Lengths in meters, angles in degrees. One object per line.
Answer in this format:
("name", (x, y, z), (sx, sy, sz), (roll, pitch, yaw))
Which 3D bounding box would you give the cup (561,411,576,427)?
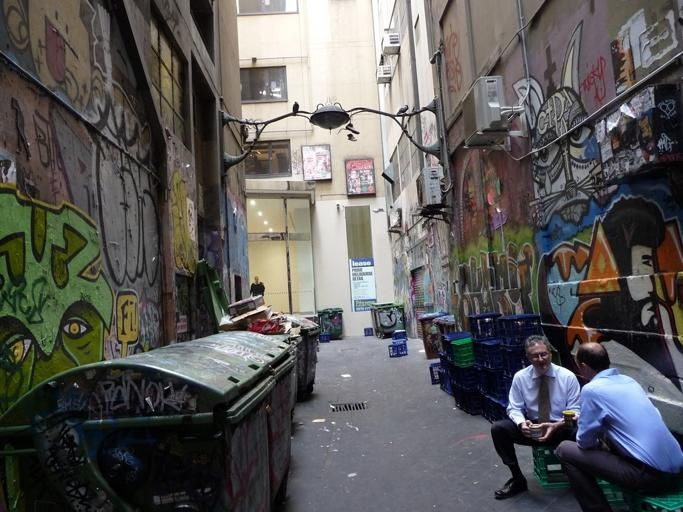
("cup", (2.279, 1.627, 4.920), (0.131, 0.138, 0.112), (-9, 7, -30))

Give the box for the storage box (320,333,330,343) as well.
("storage box", (-0.706, 3.811, 22.808), (0.433, 0.398, 0.485), (-3, -2, -5))

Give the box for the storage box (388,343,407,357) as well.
("storage box", (1.777, 2.913, 15.182), (0.553, 0.397, 0.562), (-4, -3, 6))

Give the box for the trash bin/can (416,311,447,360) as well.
("trash bin/can", (2.590, 2.344, 13.789), (0.711, 1.319, 0.708), (-5, -13, 7))

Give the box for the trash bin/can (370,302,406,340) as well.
("trash bin/can", (2.180, 2.955, 22.469), (1.626, 1.520, 1.163), (-5, -3, 19))

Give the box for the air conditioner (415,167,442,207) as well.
("air conditioner", (2.242, -1.679, 12.545), (0.449, 0.992, 0.931), (-2, -8, -12))

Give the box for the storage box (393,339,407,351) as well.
("storage box", (1.868, 2.795, 15.431), (0.271, 0.500, 0.320), (0, -4, -9))

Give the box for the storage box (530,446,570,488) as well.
("storage box", (2.228, 2.071, 5.237), (0.306, 0.489, 0.624), (-2, -6, 1))

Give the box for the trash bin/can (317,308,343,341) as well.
("trash bin/can", (-0.493, 3.335, 23.866), (1.155, 1.490, 0.512), (-3, -2, -10))

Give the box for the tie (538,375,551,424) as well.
("tie", (2.151, 1.510, 5.178), (0.081, 0.476, 0.027), (-4, -15, 28))

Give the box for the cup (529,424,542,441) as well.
("cup", (1.951, 1.779, 4.898), (0.118, 0.131, 0.108), (-6, -5, -1))

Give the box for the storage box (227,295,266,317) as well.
("storage box", (-1.670, 0.871, 8.504), (0.599, 0.314, 0.442), (-6, -3, 27))
